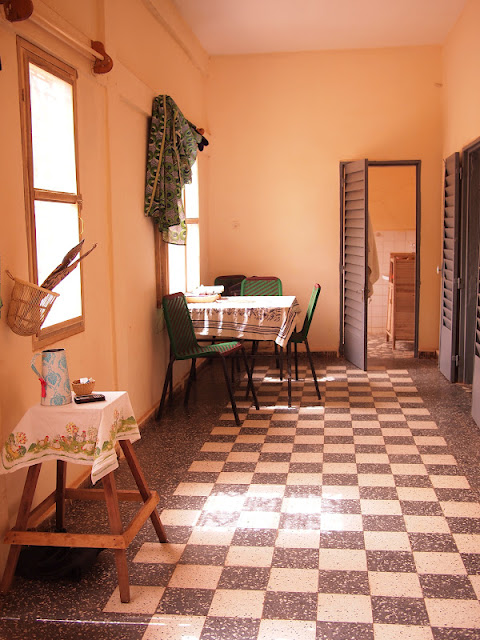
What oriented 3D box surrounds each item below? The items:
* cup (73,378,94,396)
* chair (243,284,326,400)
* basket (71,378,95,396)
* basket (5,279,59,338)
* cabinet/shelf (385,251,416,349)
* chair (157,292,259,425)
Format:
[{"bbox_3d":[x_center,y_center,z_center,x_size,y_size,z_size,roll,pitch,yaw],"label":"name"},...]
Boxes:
[{"bbox_3d":[-0.554,0.237,1.749,0.053,0.044,0.064,0,-3,3],"label":"cup"},{"bbox_3d":[0.517,0.168,4.535,0.676,0.933,0.685,-9,8,-31],"label":"chair"},{"bbox_3d":[-0.566,0.238,1.774,0.061,0.046,0.064,-1,-4,-2],"label":"basket"},{"bbox_3d":[-0.742,-0.046,1.733,0.168,0.200,0.128,-1,3,4],"label":"basket"},{"bbox_3d":[2.151,-0.288,6.591,0.313,1.194,0.339,0,3,22],"label":"cabinet/shelf"},{"bbox_3d":[-0.248,0.277,3.949,0.722,0.964,0.667,-1,4,7],"label":"chair"}]
